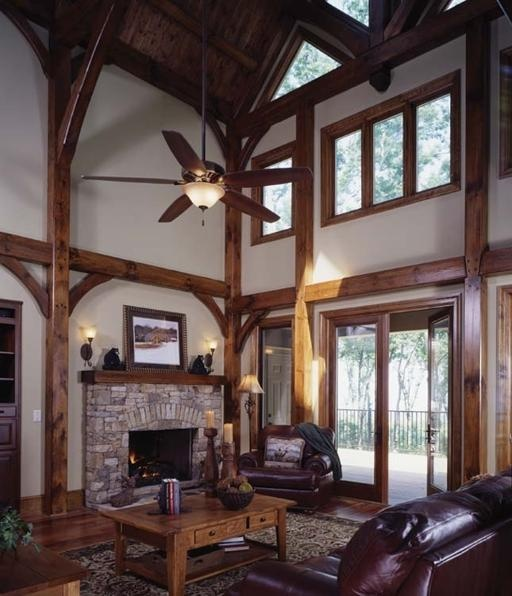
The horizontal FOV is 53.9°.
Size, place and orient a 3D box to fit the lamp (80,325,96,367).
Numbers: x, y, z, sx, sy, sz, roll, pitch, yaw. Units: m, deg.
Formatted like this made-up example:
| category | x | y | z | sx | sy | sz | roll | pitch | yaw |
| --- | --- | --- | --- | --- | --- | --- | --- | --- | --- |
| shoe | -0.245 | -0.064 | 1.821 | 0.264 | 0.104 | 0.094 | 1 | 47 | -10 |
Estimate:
| category | x | y | z | sx | sy | sz | roll | pitch | yaw |
| --- | --- | --- | --- | --- | --- | --- | --- | --- | --- |
| lamp | -1.980 | 0.582 | 5.937 | 0.167 | 0.463 | 0.237 | 1 | -8 | -19 |

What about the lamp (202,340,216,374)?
| category | x | y | z | sx | sy | sz | roll | pitch | yaw |
| --- | --- | --- | --- | --- | --- | --- | --- | --- | --- |
| lamp | -0.682 | 0.875 | 7.436 | 0.187 | 0.495 | 0.519 | -1 | -8 | 1 |

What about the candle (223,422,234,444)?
| category | x | y | z | sx | sy | sz | roll | pitch | yaw |
| --- | --- | --- | --- | --- | --- | --- | --- | --- | --- |
| candle | -0.205 | 0.996 | 3.663 | 0.060 | 0.153 | 0.105 | 1 | -8 | -14 |

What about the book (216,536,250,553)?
| category | x | y | z | sx | sy | sz | roll | pitch | yaw |
| --- | --- | --- | --- | --- | --- | --- | --- | --- | --- |
| book | -0.153 | 1.725 | 3.514 | 0.145 | 0.051 | 0.117 | 2 | -14 | -11 |

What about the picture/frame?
| category | x | y | z | sx | sy | sz | roll | pitch | yaw |
| --- | --- | --- | --- | --- | --- | --- | --- | --- | --- |
| picture/frame | -1.360 | 0.563 | 6.627 | 0.057 | 0.721 | 0.779 | -15 | -19 | 35 |

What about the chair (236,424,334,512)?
| category | x | y | z | sx | sy | sz | roll | pitch | yaw |
| --- | --- | --- | --- | --- | --- | --- | --- | --- | --- |
| chair | 0.313 | 1.880 | 5.512 | 1.001 | 0.837 | 1.045 | 0 | -14 | 3 |
